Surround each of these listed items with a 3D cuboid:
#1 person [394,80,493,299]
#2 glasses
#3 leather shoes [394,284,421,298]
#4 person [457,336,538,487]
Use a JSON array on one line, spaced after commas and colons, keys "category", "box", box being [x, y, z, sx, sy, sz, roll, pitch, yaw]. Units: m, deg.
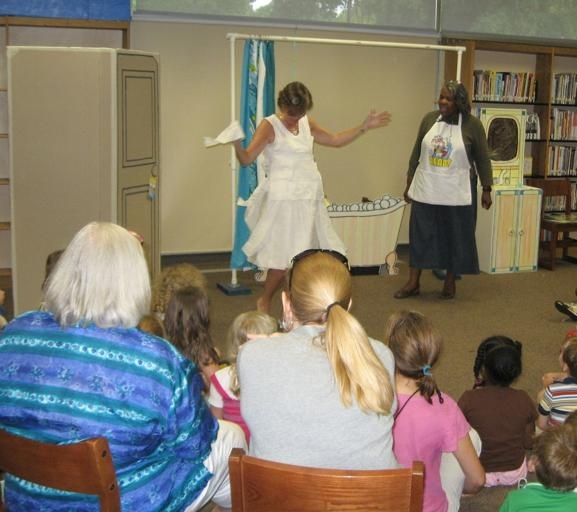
[{"category": "person", "box": [1.415, -0.553, 5.195, 0.796, 1.876, 0.544, 0, 3, 21]}, {"category": "glasses", "box": [0.087, 0.058, 1.604, 0.129, 0.160, 0.041, 1, 3, -11]}, {"category": "leather shoes", "box": [1.096, 0.317, 5.318, 0.261, 0.122, 0.101, -4, 11, -21]}, {"category": "person", "box": [0.923, 0.786, 2.626, 0.303, 0.885, 0.478, -1, 21, 8]}]
